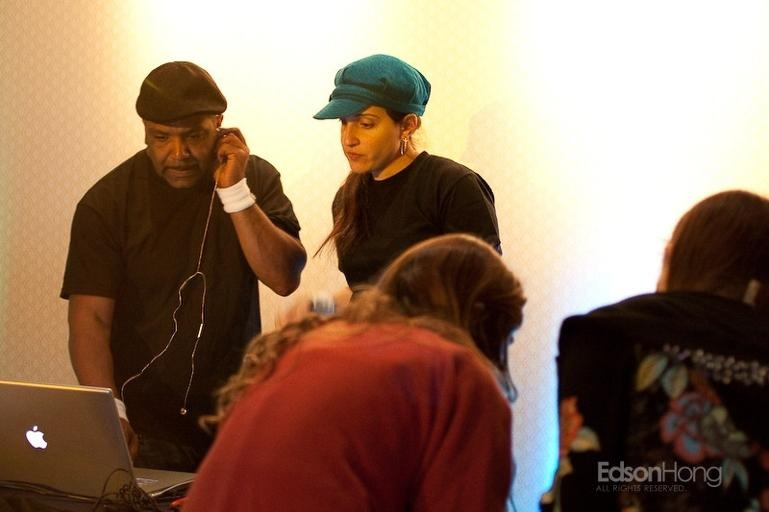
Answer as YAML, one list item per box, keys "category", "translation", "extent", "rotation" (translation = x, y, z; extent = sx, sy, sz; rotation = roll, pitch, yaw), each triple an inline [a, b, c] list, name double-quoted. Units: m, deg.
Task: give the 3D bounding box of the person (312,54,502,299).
- category: "person"
  translation: [0.040, -0.282, 2.479]
  extent: [0.574, 0.951, 0.947]
  rotation: [-11, 12, -44]

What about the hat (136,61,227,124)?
- category: "hat"
  translation: [-0.899, -0.698, 2.719]
  extent: [0.336, 0.154, 0.273]
  rotation: [5, 16, 33]

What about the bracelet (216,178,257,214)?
- category: "bracelet"
  translation: [-0.639, -0.244, 2.707]
  extent: [0.150, 0.117, 0.150]
  rotation: [-21, 3, -42]

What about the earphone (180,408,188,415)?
- category: "earphone"
  translation: [-0.870, 0.677, 2.660]
  extent: [0.024, 0.032, 0.015]
  rotation: [-5, 5, -2]

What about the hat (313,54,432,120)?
- category: "hat"
  translation: [-0.021, -0.622, 2.325]
  extent: [0.349, 0.178, 0.265]
  rotation: [2, 1, -14]
